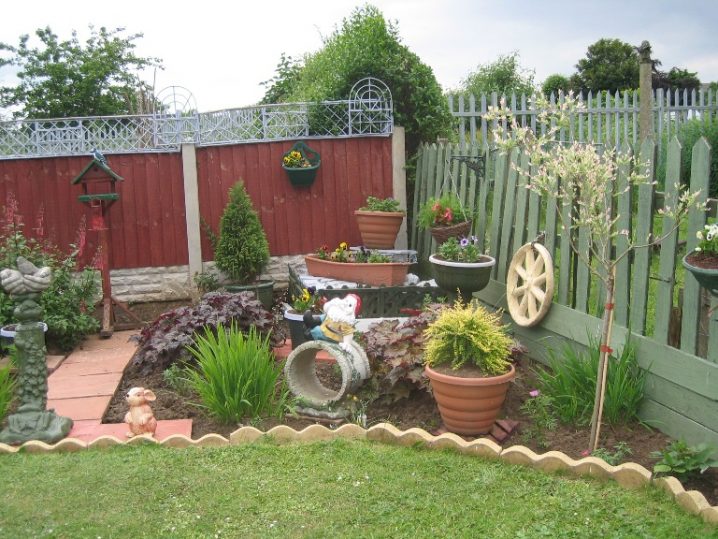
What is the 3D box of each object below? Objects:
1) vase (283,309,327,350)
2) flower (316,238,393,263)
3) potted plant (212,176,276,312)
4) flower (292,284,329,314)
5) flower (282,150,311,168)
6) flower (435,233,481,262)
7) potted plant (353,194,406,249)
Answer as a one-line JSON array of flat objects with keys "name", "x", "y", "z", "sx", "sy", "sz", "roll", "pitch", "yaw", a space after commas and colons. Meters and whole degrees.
[{"name": "vase", "x": -0.686, "y": 0.628, "z": 6.656, "sx": 0.382, "sy": 0.370, "sz": 0.422, "roll": -1, "pitch": 4, "yaw": -5}, {"name": "flower", "x": -0.090, "y": -0.262, "z": 8.103, "sx": 0.984, "sy": 0.268, "sz": 0.733, "roll": -2, "pitch": 8, "yaw": 0}, {"name": "potted plant", "x": -1.693, "y": -0.337, "z": 8.575, "sx": 0.831, "sy": 1.883, "sz": 0.901, "roll": -4, "pitch": 8, "yaw": -13}, {"name": "flower", "x": -0.566, "y": 0.343, "z": 6.784, "sx": 0.322, "sy": 0.233, "sz": 0.326, "roll": 0, "pitch": 7, "yaw": -15}, {"name": "flower", "x": -0.984, "y": -1.668, "z": 9.180, "sx": 0.332, "sy": 0.222, "sz": 0.261, "roll": 2, "pitch": 7, "yaw": -34}, {"name": "flower", "x": 1.107, "y": -0.205, "z": 6.247, "sx": 0.307, "sy": 0.213, "sz": 0.354, "roll": -1, "pitch": 3, "yaw": -39}, {"name": "potted plant", "x": 0.293, "y": -0.661, "z": 8.775, "sx": 0.650, "sy": 0.831, "sz": 0.718, "roll": 0, "pitch": -1, "yaw": 5}]
